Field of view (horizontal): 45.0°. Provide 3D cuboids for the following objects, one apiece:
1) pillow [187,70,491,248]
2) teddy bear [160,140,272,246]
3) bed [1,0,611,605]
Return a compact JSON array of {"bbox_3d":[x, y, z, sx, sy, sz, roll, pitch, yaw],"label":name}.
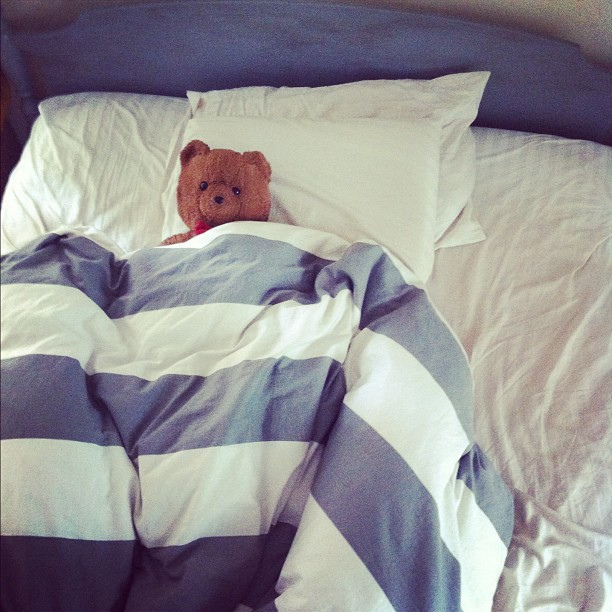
[{"bbox_3d":[0.091,-0.313,1.637,0.444,0.117,0.405,3,79,9],"label":"pillow"},{"bbox_3d":[-0.177,-0.230,1.521,0.240,0.130,0.248,10,68,7],"label":"teddy bear"},{"bbox_3d":[0.052,0.093,1.767,1.385,0.579,1.284,1,56,5],"label":"bed"}]
